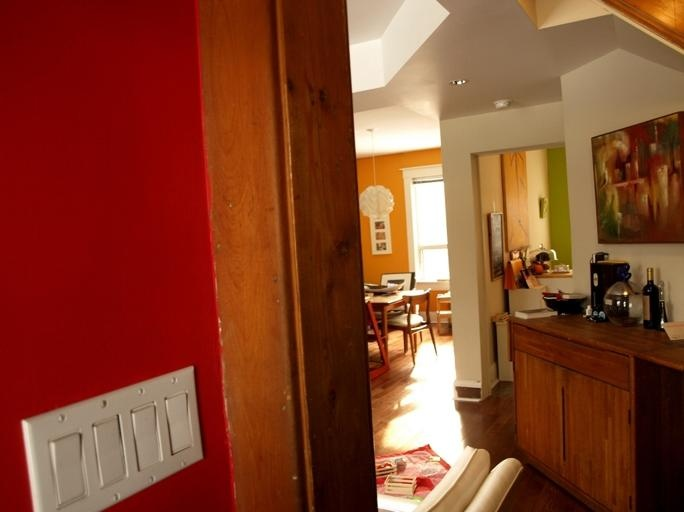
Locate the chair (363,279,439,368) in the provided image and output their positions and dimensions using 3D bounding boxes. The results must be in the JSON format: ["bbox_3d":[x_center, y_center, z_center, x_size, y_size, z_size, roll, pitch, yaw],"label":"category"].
[{"bbox_3d":[0.658,0.713,6.136,0.738,0.995,0.992,2,3,25],"label":"chair"}]

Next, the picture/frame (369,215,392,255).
[{"bbox_3d":[0.594,-0.302,8.426,0.380,0.405,0.114,-3,4,41],"label":"picture/frame"}]

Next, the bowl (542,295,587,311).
[{"bbox_3d":[1.425,0.325,3.427,0.248,0.112,0.149,-5,4,23],"label":"bowl"}]

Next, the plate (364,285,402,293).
[{"bbox_3d":[0.456,0.409,6.282,0.378,0.106,0.279,-3,0,38],"label":"plate"}]

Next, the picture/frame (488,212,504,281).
[{"bbox_3d":[1.472,-0.068,5.175,0.082,0.885,0.601,-1,3,26],"label":"picture/frame"}]
